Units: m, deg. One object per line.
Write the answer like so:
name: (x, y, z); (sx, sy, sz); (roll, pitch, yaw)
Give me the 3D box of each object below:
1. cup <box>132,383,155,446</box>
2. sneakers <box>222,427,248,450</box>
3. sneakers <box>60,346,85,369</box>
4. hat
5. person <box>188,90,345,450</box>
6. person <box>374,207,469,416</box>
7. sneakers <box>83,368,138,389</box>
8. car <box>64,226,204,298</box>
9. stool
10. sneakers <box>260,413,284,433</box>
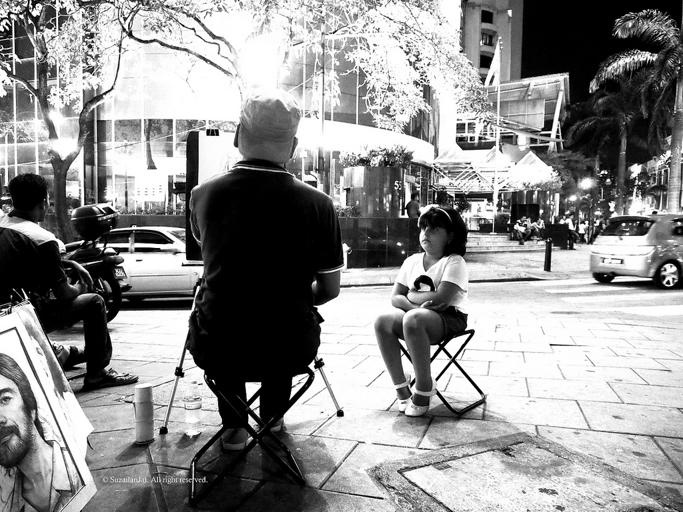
cup: (-1.595, 1.272, 5.012); (0.152, 0.458, 0.165); (0, 6, 0)
sneakers: (-0.838, 1.446, 4.912); (0.208, 0.223, 0.135); (0, 5, -10)
sneakers: (-2.919, 1.105, 6.692); (0.235, 0.177, 0.416); (2, 4, -29)
hat: (-0.508, -1.028, 4.675); (0.403, 0.551, 0.549); (6, 26, -6)
person: (-0.547, -0.144, 4.448); (1.096, 2.092, 0.463); (-2, 6, -16)
person: (0.758, 0.460, 5.705); (0.865, 1.851, 0.627); (-6, 8, -43)
sneakers: (-2.365, 1.183, 6.293); (0.448, 0.182, 0.225); (0, -1, -32)
car: (-3.710, 0.083, 12.445); (3.063, 1.550, 1.814); (2, -2, 0)
stool: (1.022, 1.082, 6.165); (0.842, 1.171, 0.662); (-5, -2, 35)
sneakers: (-0.537, 1.353, 4.971); (0.177, 0.137, 0.250); (0, -19, -2)
